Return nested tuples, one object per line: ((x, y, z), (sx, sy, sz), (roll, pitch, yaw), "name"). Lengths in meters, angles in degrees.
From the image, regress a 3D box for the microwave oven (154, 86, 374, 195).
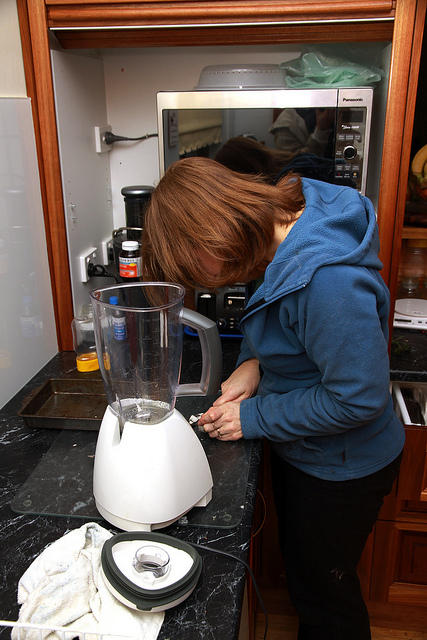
((0.152, -0.512, 1.535), (0.660, 0.350, 0.483), (4, 24, 4), "microwave oven")
